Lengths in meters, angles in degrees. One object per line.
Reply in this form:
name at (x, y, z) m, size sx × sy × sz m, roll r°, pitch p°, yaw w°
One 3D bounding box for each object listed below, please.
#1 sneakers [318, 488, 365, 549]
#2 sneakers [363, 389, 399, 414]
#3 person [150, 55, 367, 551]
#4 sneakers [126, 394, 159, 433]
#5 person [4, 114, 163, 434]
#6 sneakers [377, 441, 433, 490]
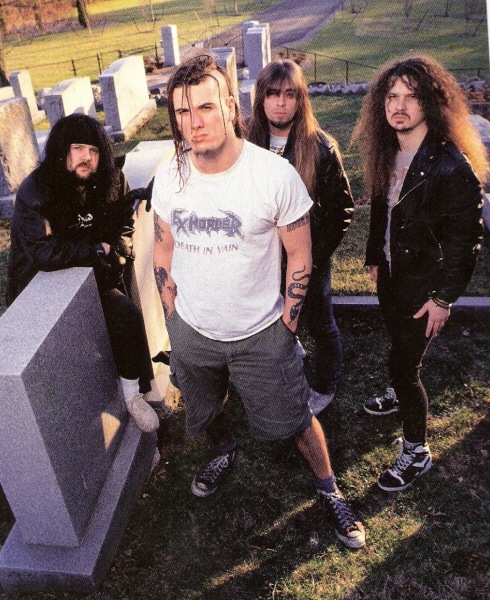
sneakers at (0.412, 0.914, 2.276) m, size 0.092 × 0.119 × 0.293 m, roll -14°, pitch 43°, yaw -10°
sneakers at (0.747, 0.561, 2.890) m, size 0.265 × 0.128 × 0.103 m, roll -1°, pitch 43°, yaw 12°
person at (0.022, 0.106, 2.022) m, size 0.759 × 1.893 × 0.339 m, roll -1°, pitch 27°, yaw 19°
sneakers at (-0.479, 0.532, 2.495) m, size 0.106 × 0.200 × 0.059 m, roll -34°, pitch 13°, yaw -7°
person at (-0.746, 0.005, 2.488) m, size 0.593 × 1.557 × 0.656 m, roll -12°, pitch 26°, yaw -3°
sneakers at (0.747, 0.774, 2.459) m, size 0.207 × 0.124 × 0.077 m, roll -38°, pitch 25°, yaw -4°
